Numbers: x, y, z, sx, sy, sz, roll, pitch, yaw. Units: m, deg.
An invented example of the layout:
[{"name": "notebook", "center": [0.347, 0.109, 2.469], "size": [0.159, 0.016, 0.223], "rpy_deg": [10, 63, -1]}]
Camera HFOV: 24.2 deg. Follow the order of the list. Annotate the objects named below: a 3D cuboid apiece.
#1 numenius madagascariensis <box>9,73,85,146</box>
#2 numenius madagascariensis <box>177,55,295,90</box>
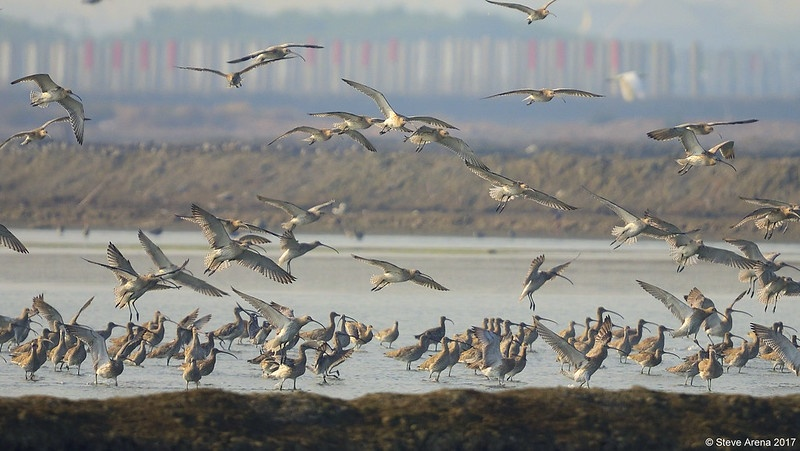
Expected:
[{"name": "numenius madagascariensis", "center": [-30.042, -11.472, 161.205], "size": [5.364, 1.837, 8.814], "rpy_deg": [-7, -46, 50]}, {"name": "numenius madagascariensis", "center": [-14.753, -13.662, 164.549], "size": [11.794, 2.776, 4.222], "rpy_deg": [-6, 18, -9]}]
